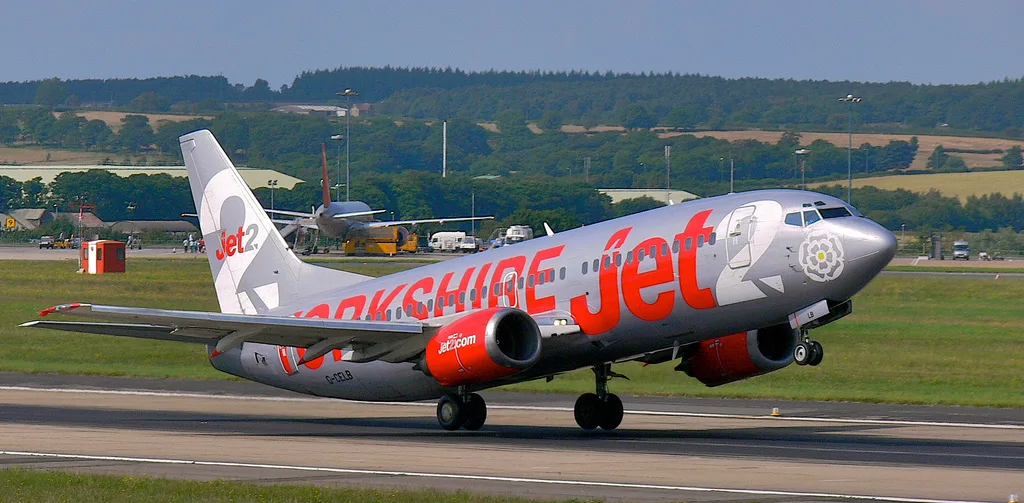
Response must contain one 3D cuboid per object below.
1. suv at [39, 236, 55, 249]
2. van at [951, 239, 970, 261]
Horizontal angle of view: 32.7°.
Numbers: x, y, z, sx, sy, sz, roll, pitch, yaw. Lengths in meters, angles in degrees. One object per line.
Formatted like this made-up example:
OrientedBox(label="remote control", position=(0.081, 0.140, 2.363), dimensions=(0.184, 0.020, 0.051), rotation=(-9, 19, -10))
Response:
OrientedBox(label="suv", position=(-147.154, -2.764, 549.115), dimensions=(4.664, 2.819, 6.185), rotation=(1, 5, 3))
OrientedBox(label="van", position=(135.232, -0.612, 523.691), dimensions=(4.324, 5.210, 3.557), rotation=(3, 9, 15))
